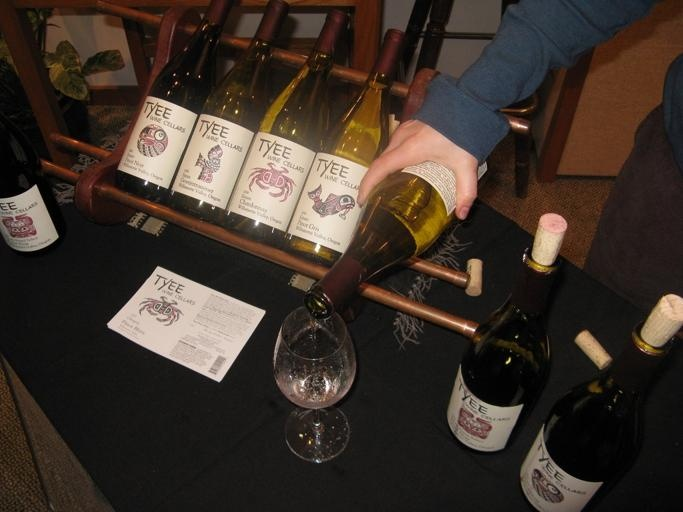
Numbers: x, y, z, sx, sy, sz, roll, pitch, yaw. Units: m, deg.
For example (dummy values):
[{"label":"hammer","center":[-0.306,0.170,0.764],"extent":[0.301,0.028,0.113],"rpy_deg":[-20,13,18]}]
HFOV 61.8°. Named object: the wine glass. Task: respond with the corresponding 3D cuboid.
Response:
[{"label":"wine glass","center":[-0.041,0.207,0.869],"extent":[0.141,0.337,0.163],"rpy_deg":[-3,54,-1]}]
